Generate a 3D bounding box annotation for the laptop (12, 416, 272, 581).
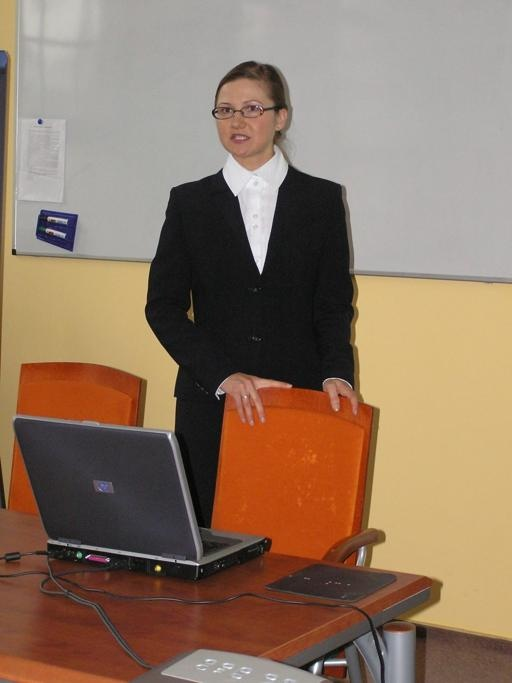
[{"bbox_3d":[-0.192,0.206,1.135,0.337,0.250,0.308,3,7,33],"label":"laptop"}]
